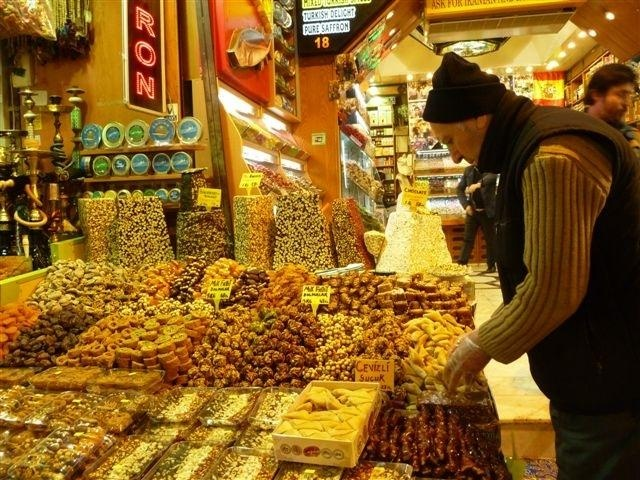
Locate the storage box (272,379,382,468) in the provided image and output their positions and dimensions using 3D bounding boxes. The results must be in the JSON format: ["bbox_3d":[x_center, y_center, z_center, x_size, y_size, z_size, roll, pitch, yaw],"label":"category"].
[{"bbox_3d":[0.039,0.745,2.019,0.339,0.189,0.436,5,11,19],"label":"storage box"}]

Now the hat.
[{"bbox_3d":[0.559,-0.578,1.921,0.315,0.249,0.255,-3,18,17],"label":"hat"}]

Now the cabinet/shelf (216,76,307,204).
[{"bbox_3d":[-0.598,-0.986,4.845,0.363,0.768,1.857,-2,6,6],"label":"cabinet/shelf"}]
